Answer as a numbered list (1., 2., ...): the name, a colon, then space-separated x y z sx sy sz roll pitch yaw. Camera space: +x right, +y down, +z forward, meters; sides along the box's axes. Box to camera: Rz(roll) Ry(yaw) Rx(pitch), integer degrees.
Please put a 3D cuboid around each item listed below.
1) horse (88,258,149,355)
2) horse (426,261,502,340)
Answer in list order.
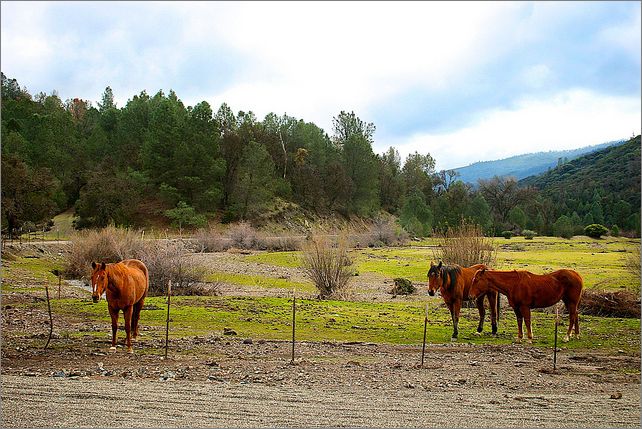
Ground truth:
1. horse: -8.123 3.662 25.581 1.383 3.477 2.431 7 11 36
2. horse: 6.602 3.891 28.408 4.335 3.235 1.178 5 -9 -30
